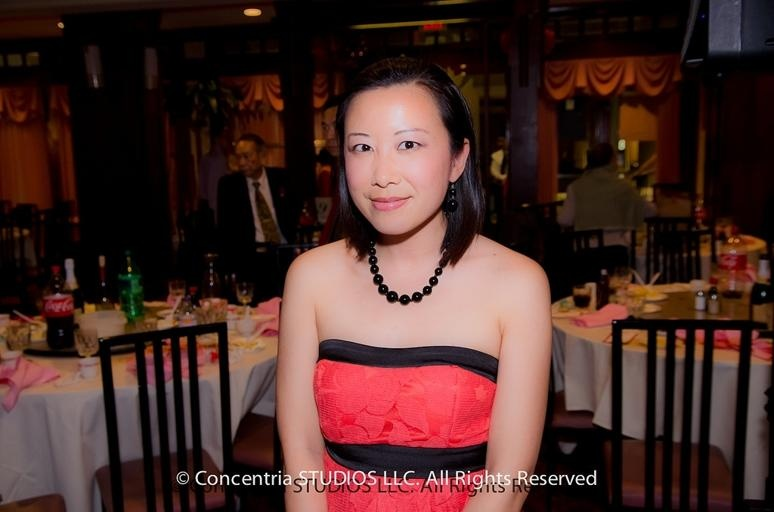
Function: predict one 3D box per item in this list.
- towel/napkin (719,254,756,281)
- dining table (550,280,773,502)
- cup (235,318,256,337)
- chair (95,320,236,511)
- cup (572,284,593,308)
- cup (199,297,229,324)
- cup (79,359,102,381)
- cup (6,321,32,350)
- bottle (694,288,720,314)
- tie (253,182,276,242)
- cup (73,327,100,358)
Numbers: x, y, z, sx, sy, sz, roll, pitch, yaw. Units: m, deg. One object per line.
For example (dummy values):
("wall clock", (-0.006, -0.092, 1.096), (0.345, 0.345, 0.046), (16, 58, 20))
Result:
("towel/napkin", (2.474, 0.073, 4.542), (0.203, 0.157, 0.204), (-7, 4, -44))
("dining table", (1.637, 0.699, 3.958), (1.021, 0.697, 1.083), (2, 9, 16))
("cup", (-0.875, 0.428, 4.002), (0.106, 0.090, 0.107), (2, 14, -1))
("chair", (-1.108, 0.838, 3.297), (0.632, 1.011, 0.348), (0, 2, -15))
("cup", (1.339, 0.282, 4.496), (0.143, 0.172, 0.144), (-2, -1, 0))
("cup", (-1.081, 0.325, 4.003), (0.171, 0.193, 0.173), (0, -2, 0))
("cup", (-1.620, 0.625, 3.507), (0.109, 0.092, 0.099), (5, -4, -40))
("cup", (-2.164, 0.462, 3.811), (0.137, 0.163, 0.141), (10, 2, 0))
("bottle", (2.085, 0.294, 4.192), (0.190, 0.194, 0.113), (4, 2, 35))
("tie", (-1.288, -0.444, 6.777), (0.177, 0.702, 0.037), (-17, 5, 5))
("cup", (-1.702, 0.494, 3.660), (0.133, 0.222, 0.130), (0, 10, 0))
